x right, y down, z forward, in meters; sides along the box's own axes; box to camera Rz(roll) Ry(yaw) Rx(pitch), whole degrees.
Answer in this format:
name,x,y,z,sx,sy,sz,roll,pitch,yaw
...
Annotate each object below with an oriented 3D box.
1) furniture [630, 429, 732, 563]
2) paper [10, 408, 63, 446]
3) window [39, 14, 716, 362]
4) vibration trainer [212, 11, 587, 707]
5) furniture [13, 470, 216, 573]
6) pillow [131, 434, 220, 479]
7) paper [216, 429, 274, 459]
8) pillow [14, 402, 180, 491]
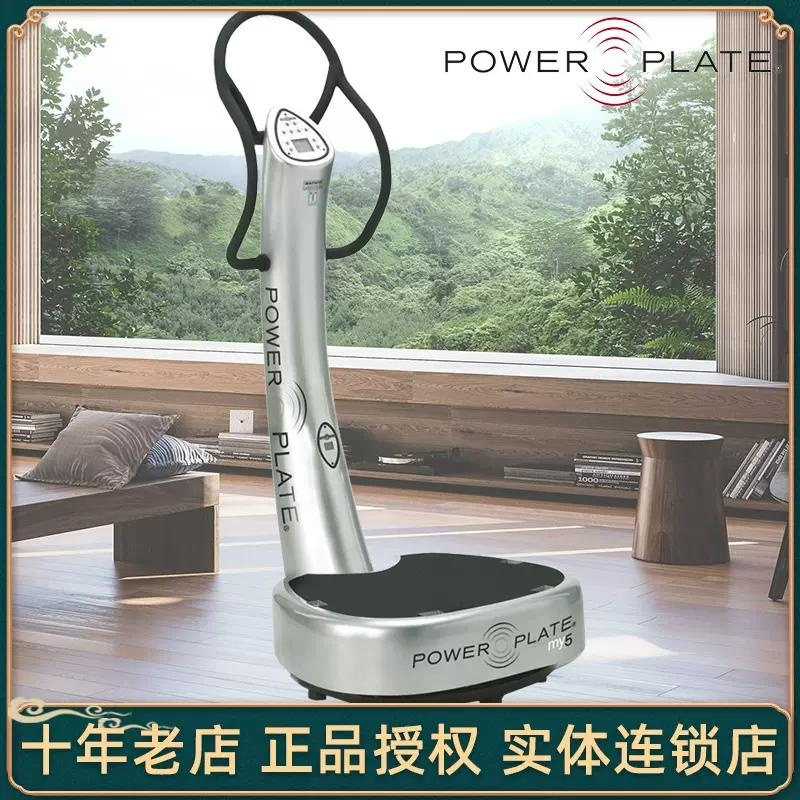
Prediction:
name,x,y,z,sx,sy,sz,roll,pitch,yaw
furniture,0.876,0.307,2.791,0.284,0.384,0.185,-1,12,12
paper,-1.724,0.134,4.252,0.201,0.101,0.258,4,4,28
window,0.228,-1.526,7.380,6.854,2.710,0.093,-5,18,-27
vibration trainer,-0.045,-0.024,1.429,0.541,0.937,0.429,7,16,42
furniture,-0.793,0.322,2.531,0.393,0.219,0.596,2,2,38
pillow,-0.671,0.166,2.625,0.159,0.041,0.160,19,22,40
paper,-0.705,0.205,4.182,0.383,0.089,0.243,4,2,25
pillow,-0.863,0.133,2.550,0.353,0.164,0.349,0,10,17
